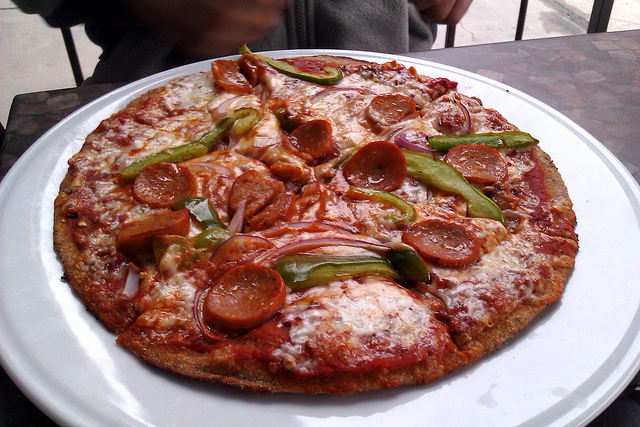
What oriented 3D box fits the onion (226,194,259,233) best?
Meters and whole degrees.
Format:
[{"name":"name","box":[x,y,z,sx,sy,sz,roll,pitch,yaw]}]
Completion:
[{"name":"onion","box":[-0.420,0.009,2.980,0.068,0.050,0.183,28,63,-6]}]
